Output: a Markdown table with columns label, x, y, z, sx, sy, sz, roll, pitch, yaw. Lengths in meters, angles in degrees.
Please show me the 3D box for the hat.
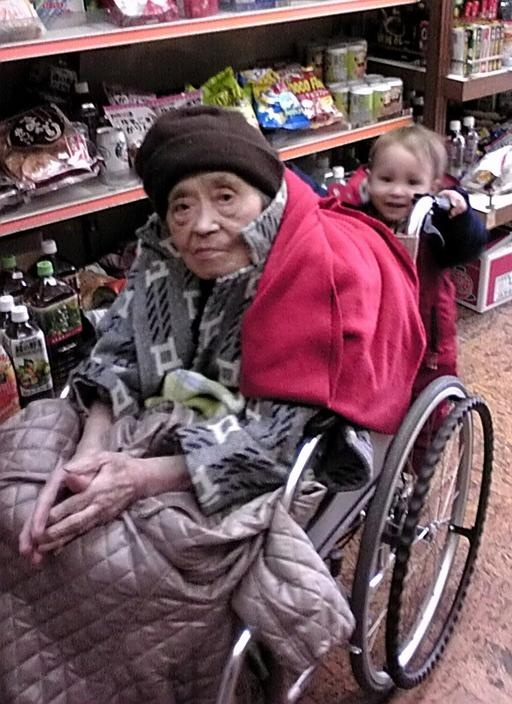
| label | x | y | z | sx | sy | sz | roll | pitch | yaw |
| --- | --- | --- | --- | --- | --- | --- | --- | --- | --- |
| hat | -0.085 | -0.344 | 0.861 | 0.176 | 0.175 | 0.106 | 3 | 43 | 3 |
